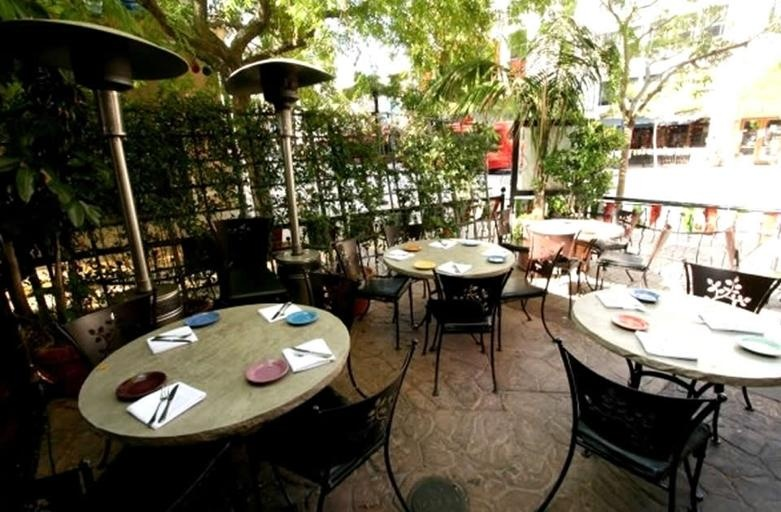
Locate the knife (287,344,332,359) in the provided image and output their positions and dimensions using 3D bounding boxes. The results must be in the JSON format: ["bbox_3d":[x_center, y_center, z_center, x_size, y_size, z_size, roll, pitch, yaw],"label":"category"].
[{"bbox_3d":[-0.684,0.858,4.504,0.510,0.084,0.114,4,25,9],"label":"knife"}]

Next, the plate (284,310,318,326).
[{"bbox_3d":[-0.841,0.607,4.897,0.267,0.091,0.233,4,14,27],"label":"plate"}]

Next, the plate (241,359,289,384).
[{"bbox_3d":[-1.055,0.992,4.362,0.225,0.038,0.219,-2,29,-3],"label":"plate"}]

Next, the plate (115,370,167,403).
[{"bbox_3d":[-2.083,1.099,4.288,0.270,0.064,0.254,-8,26,-10],"label":"plate"}]

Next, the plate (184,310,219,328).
[{"bbox_3d":[-1.820,0.624,4.943,0.325,0.100,0.212,-7,13,-20],"label":"plate"}]
